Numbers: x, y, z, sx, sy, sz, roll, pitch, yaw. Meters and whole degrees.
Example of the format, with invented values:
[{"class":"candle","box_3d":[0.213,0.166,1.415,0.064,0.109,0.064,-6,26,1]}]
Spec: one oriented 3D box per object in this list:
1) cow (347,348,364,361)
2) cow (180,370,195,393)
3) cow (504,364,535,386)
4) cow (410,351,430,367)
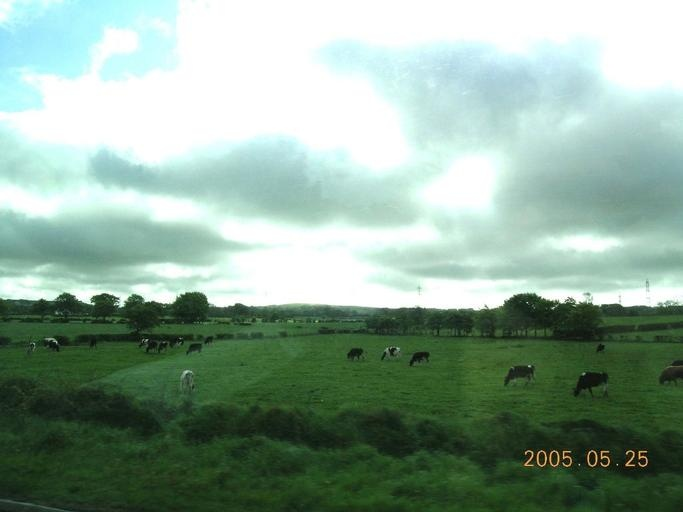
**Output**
[{"class":"cow","box_3d":[1.849,13.043,84.231,2.030,1.475,4.909,2,-7,2]},{"class":"cow","box_3d":[-15.230,12.382,62.856,1.215,2.019,1.214,2,-8,-2]},{"class":"cow","box_3d":[18.564,12.467,66.214,2.540,2.019,4.441,-3,-9,32]},{"class":"cow","box_3d":[9.523,12.643,78.358,2.240,1.648,4.826,1,-7,10]}]
